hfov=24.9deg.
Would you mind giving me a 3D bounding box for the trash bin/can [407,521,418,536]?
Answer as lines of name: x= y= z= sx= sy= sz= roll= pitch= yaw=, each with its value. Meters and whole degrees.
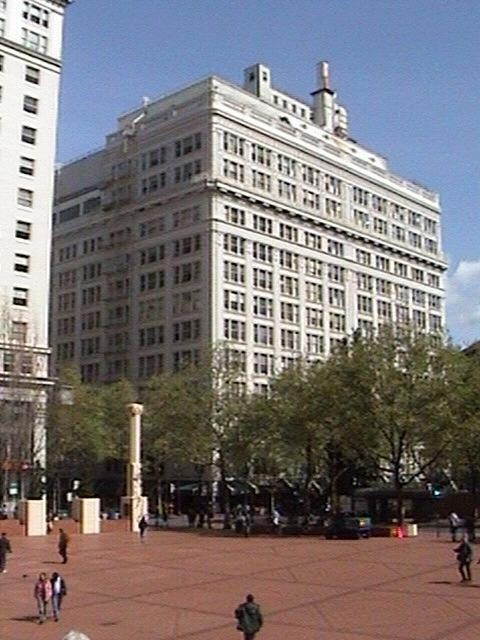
trash bin/can: x=9.420 y=11.420 z=59.233 sx=0.546 sy=0.719 sz=1.924 roll=-4 pitch=-13 yaw=8
